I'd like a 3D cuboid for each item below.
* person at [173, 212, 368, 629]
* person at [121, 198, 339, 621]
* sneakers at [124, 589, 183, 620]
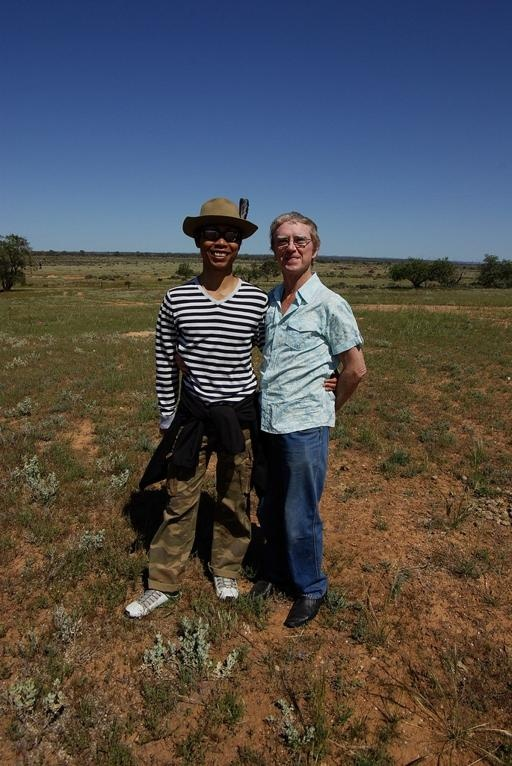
[{"bbox_3d":[0.360,0.300,3.282,0.682,2.841,0.487,2,10,10],"label":"person"},{"bbox_3d":[-0.347,0.227,3.340,0.947,2.898,0.731,1,12,-11],"label":"person"},{"bbox_3d":[-0.761,1.581,3.458,0.119,0.163,0.370,28,6,26],"label":"sneakers"}]
